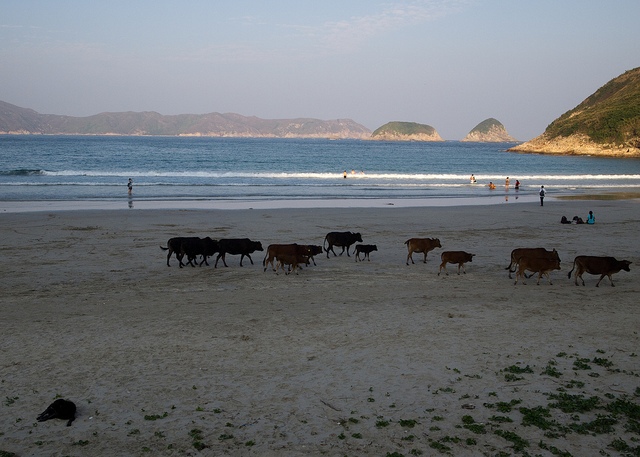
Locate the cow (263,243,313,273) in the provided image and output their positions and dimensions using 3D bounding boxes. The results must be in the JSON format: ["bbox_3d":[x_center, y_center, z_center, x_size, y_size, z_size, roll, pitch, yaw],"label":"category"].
[{"bbox_3d":[-1.069,0.980,19.888,1.904,0.914,0.644,-1,-10,14],"label":"cow"}]

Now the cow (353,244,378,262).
[{"bbox_3d":[1.731,0.927,21.882,0.792,0.603,0.824,2,1,5],"label":"cow"}]

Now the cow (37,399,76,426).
[{"bbox_3d":[-5.212,3.673,11.447,0.535,0.171,0.583,22,28,26],"label":"cow"}]

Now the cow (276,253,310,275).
[{"bbox_3d":[-0.967,1.206,19.708,1.065,0.627,0.728,1,1,-7],"label":"cow"}]

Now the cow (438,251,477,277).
[{"bbox_3d":[4.584,1.172,19.565,1.077,0.801,0.652,1,0,4],"label":"cow"}]

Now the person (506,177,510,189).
[{"bbox_3d":[17.448,-4.214,53.311,0.158,1.009,0.504,2,0,6],"label":"person"}]

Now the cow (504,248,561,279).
[{"bbox_3d":[7.148,1.125,19.139,1.854,0.923,0.437,1,-1,44],"label":"cow"}]

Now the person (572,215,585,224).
[{"bbox_3d":[13.287,-0.458,29.338,0.657,0.351,0.887,2,3,35],"label":"person"}]

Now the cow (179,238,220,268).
[{"bbox_3d":[-4.290,0.836,20.901,1.947,1.093,0.500,-2,16,9],"label":"cow"}]

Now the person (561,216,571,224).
[{"bbox_3d":[12.805,-0.451,29.784,0.440,0.288,0.791,-4,-7,31],"label":"person"}]

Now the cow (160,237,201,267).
[{"bbox_3d":[-4.896,0.718,20.863,1.754,0.829,0.372,-7,28,-19],"label":"cow"}]

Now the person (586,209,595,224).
[{"bbox_3d":[14.144,-0.610,29.883,0.389,0.742,1.785,2,1,25],"label":"person"}]

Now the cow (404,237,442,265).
[{"bbox_3d":[3.858,0.797,21.229,1.503,0.995,0.390,0,-1,-15],"label":"cow"}]

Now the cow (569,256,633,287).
[{"bbox_3d":[8.819,1.364,18.215,1.570,1.020,0.692,1,0,0],"label":"cow"}]

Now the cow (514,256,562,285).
[{"bbox_3d":[7.026,1.336,18.202,1.426,0.875,0.419,2,-7,40],"label":"cow"}]
